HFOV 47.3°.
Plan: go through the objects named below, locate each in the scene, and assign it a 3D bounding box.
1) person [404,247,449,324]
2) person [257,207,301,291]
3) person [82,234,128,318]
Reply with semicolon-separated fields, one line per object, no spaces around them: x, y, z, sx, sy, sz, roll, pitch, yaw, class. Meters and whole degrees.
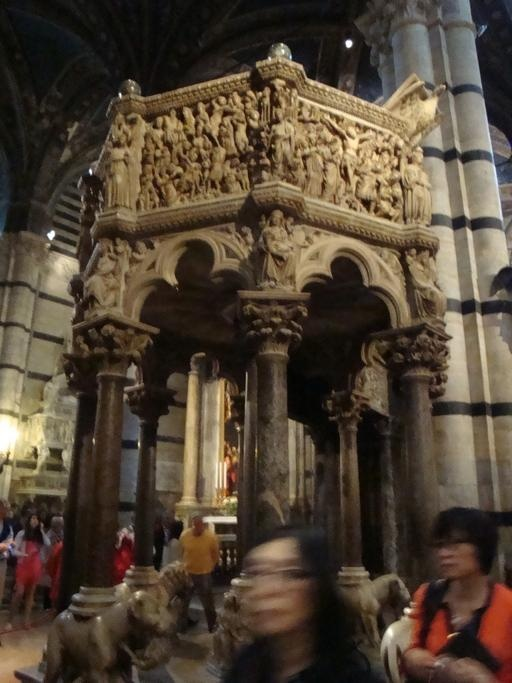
1.632;-0.518;5.611;0.397;0.767;0.156;11;-22;-27;person
0.169;-0.760;4.927;0.330;0.718;0.174;1;-19;0;person
-1.416;-0.576;5.366;0.388;0.777;0.250;-9;-22;26;person
